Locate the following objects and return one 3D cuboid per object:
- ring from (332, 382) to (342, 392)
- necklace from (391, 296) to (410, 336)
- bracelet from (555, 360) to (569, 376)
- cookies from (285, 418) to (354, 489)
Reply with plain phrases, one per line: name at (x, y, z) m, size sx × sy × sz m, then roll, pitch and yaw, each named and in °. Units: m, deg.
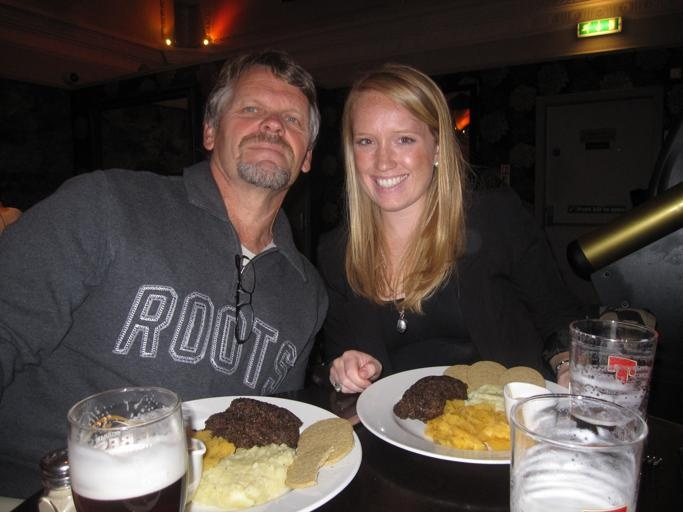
ring at (-0.014, 0.470, 1.920) m, size 0.019 × 0.012 × 0.030 m, roll -9°, pitch 26°, yaw -10°
necklace at (0.289, 0.295, 2.583) m, size 0.057 × 0.170 × 0.076 m, roll -4°, pitch 11°, yaw 1°
bracelet at (0.804, 0.405, 1.963) m, size 0.048 × 0.039 × 0.064 m, roll -10°, pitch 1°, yaw 25°
cookies at (-0.047, 0.542, 1.507) m, size 0.106 × 0.016 × 0.225 m, roll -3°, pitch 7°, yaw 14°
